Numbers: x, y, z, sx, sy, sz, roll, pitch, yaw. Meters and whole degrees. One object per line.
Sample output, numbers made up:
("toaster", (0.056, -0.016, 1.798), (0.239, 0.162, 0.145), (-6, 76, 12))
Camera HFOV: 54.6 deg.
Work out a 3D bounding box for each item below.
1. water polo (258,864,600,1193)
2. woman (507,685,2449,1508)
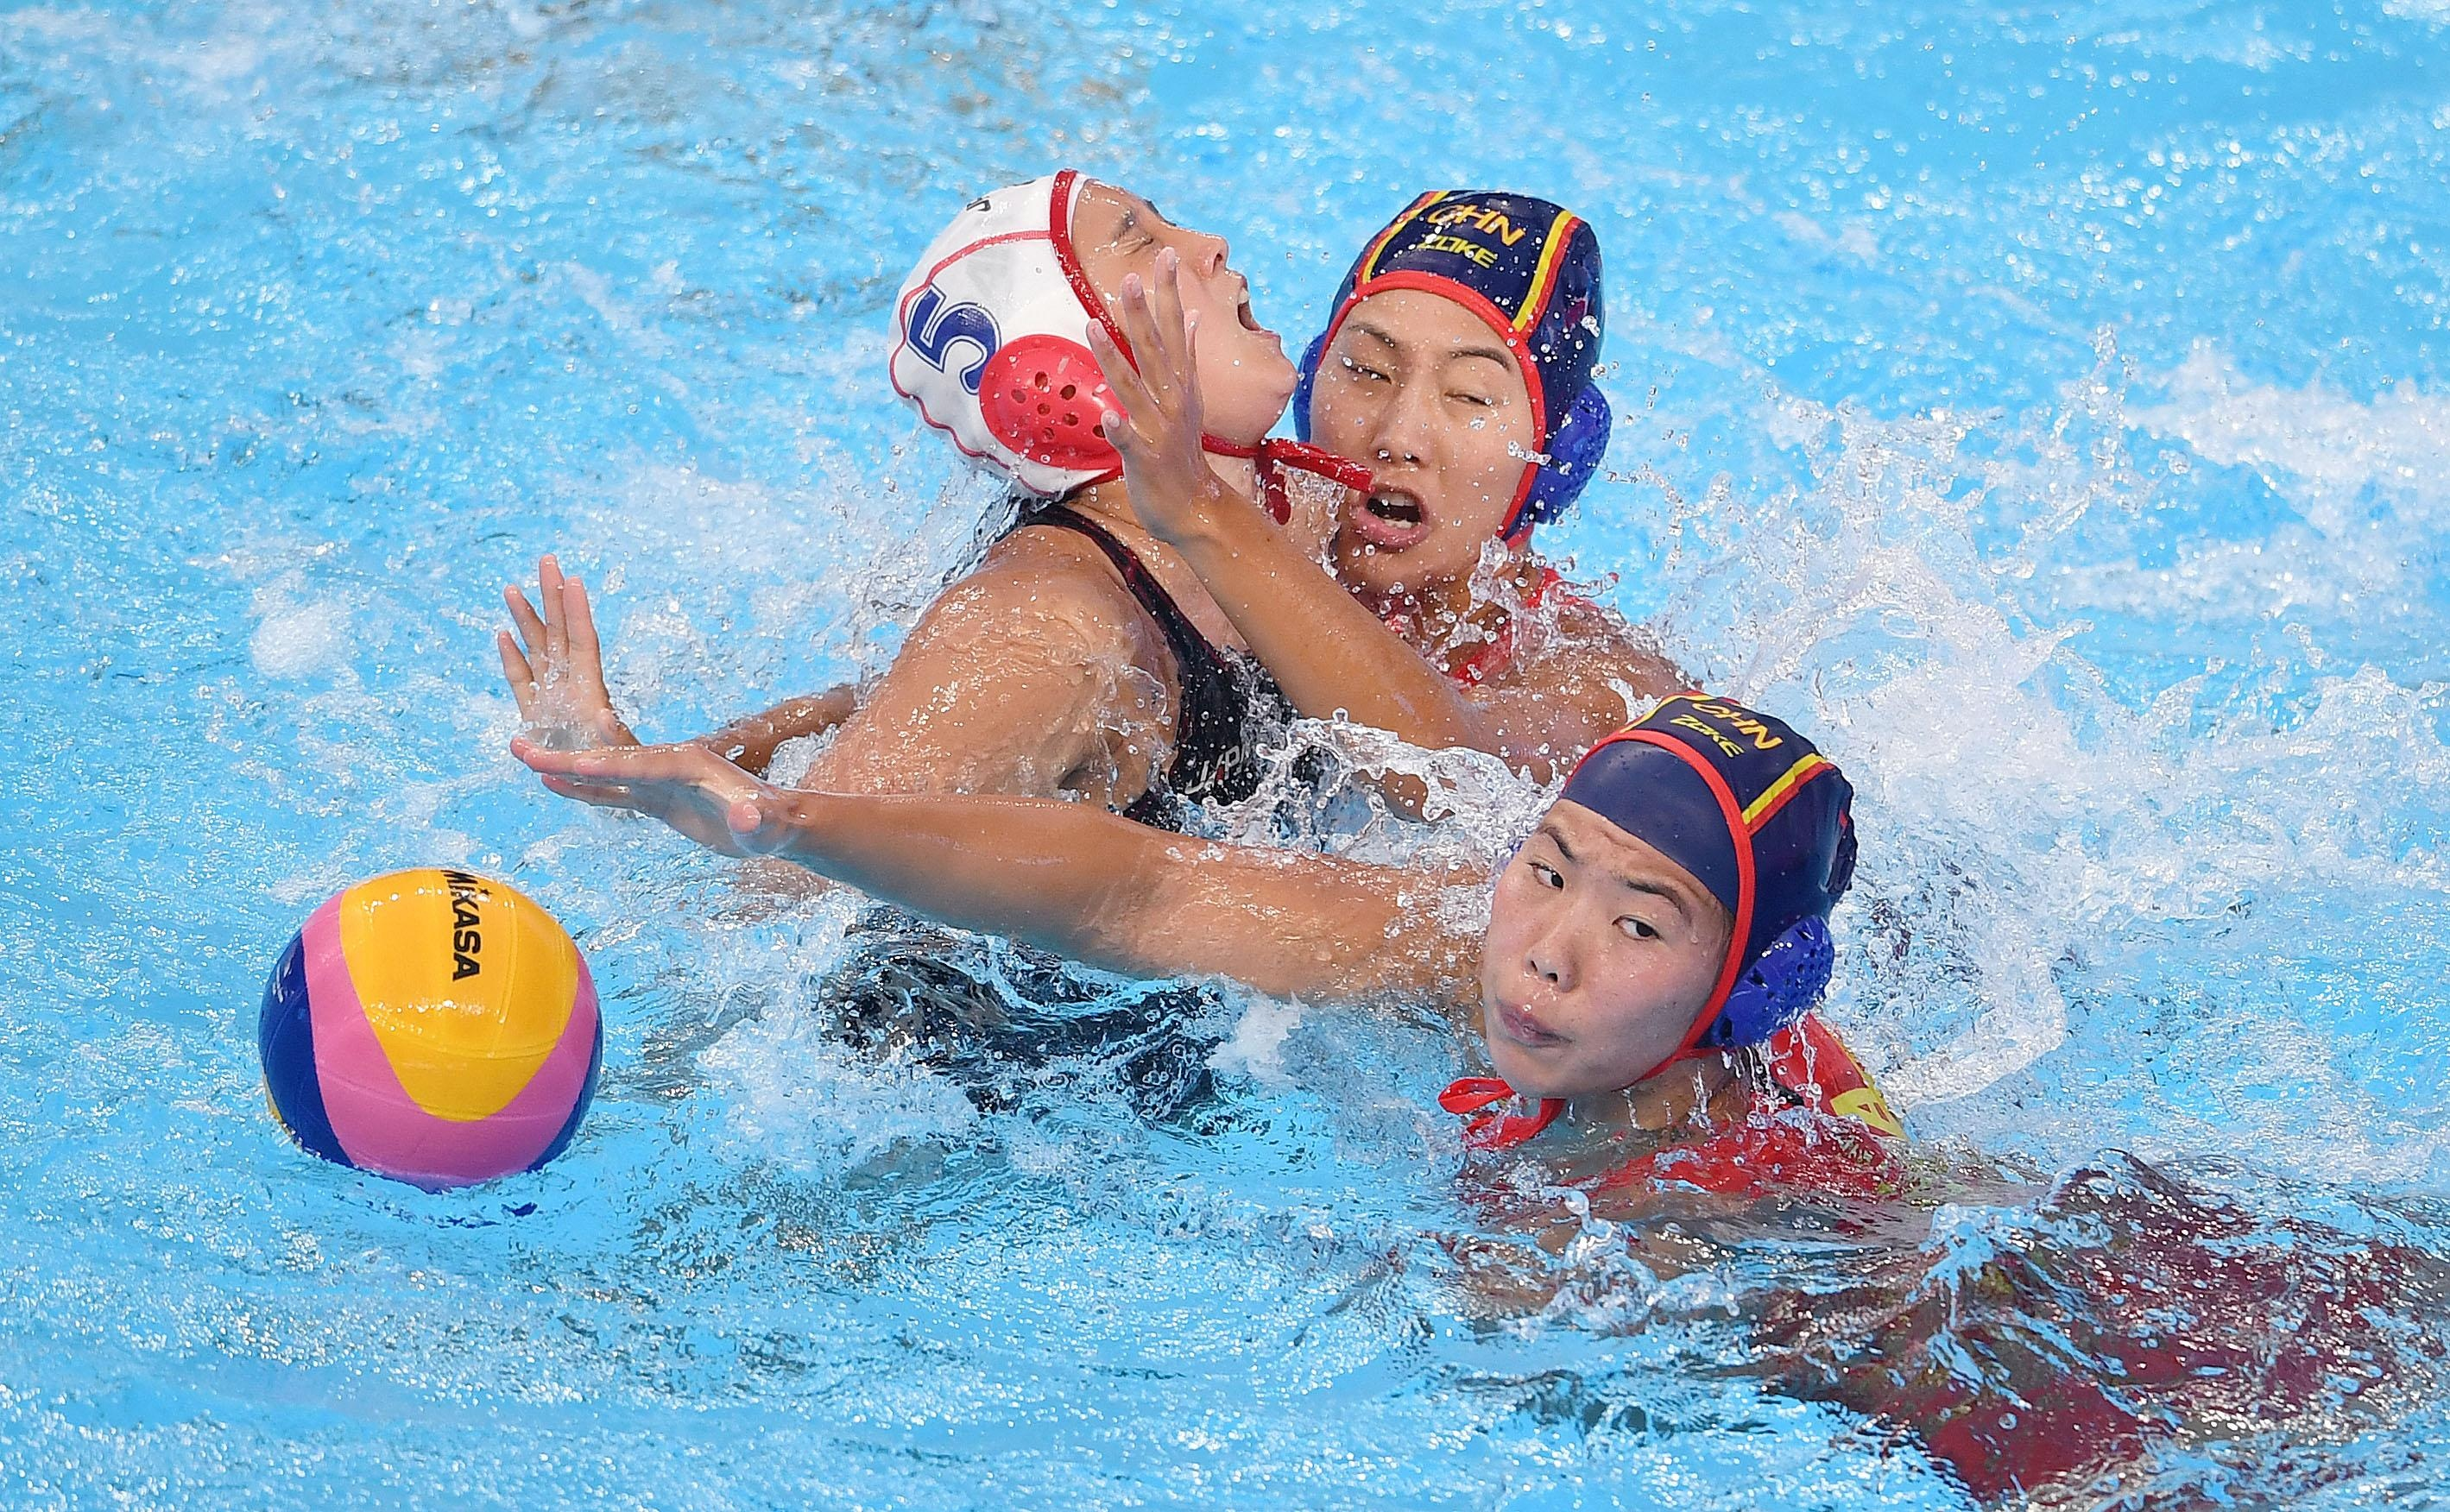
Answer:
("water polo", (-1.530, 0.522, 4.560), (0.634, 0.216, 0.588), (18, 85, 3))
("woman", (1.062, 0.732, 4.693), (1.821, 2.906, 1.123), (3, 90, 44))
